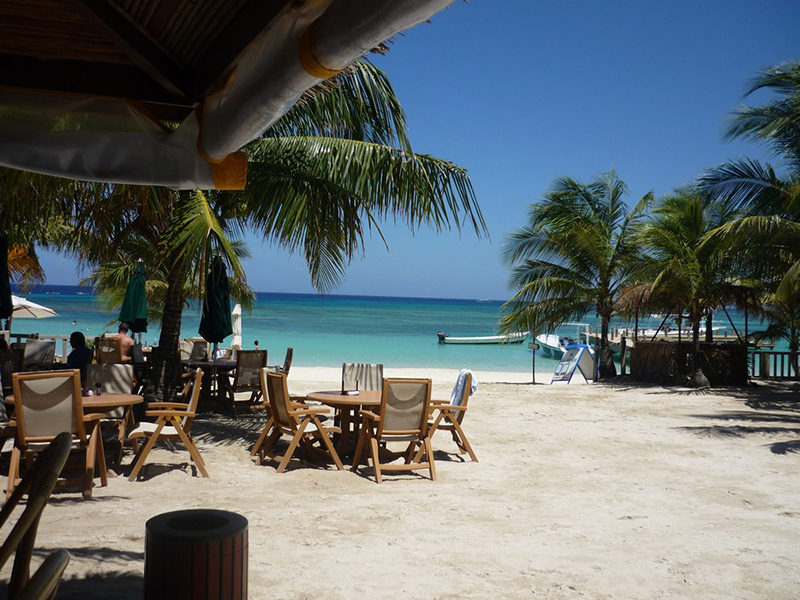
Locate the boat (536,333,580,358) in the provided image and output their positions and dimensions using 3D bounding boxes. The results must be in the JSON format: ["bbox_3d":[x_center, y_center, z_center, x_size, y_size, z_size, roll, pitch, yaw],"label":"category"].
[{"bbox_3d":[10.033,2.833,40.839,1.806,1.833,8.770,1,-7,9],"label":"boat"}]
